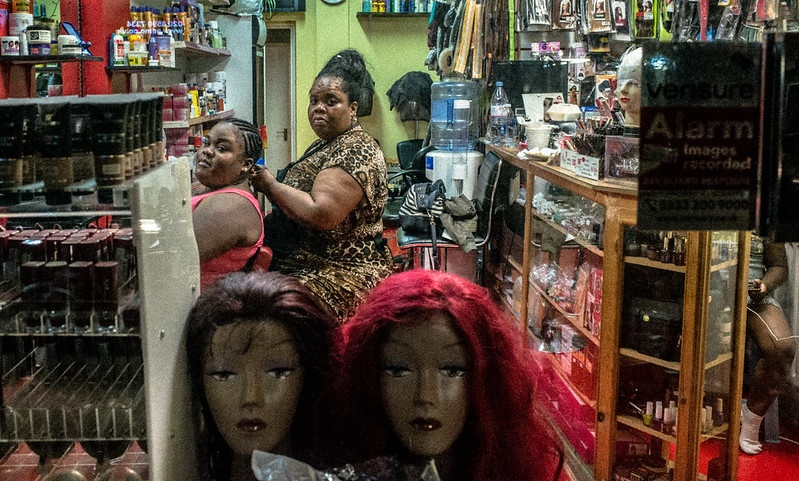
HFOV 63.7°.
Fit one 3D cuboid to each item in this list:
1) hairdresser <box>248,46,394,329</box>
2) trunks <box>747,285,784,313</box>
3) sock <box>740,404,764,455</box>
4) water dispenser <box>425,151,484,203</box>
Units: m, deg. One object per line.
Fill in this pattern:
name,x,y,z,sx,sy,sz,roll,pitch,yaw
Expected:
hairdresser,-0.374,-0.157,3.155,0.722,1.440,0.671,4,11,5
trunks,1.554,0.252,2.733,0.085,0.137,0.072,-1,48,17
sock,1.591,0.892,2.904,0.053,0.235,0.152,-2,8,-6
water dispenser,0.451,-0.550,5.508,0.419,0.451,0.405,-1,9,-13
